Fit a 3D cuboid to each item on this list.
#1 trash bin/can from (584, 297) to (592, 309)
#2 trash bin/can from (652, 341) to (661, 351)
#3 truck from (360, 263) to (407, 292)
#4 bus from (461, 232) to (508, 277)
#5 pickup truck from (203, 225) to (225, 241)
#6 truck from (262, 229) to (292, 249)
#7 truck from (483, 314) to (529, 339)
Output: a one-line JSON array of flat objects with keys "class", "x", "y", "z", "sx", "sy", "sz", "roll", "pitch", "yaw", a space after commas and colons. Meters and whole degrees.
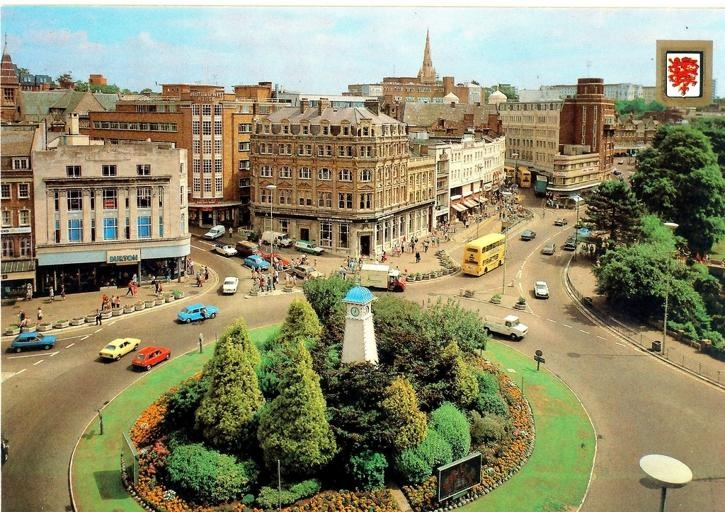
[{"class": "trash bin/can", "x": 30.278, "y": 6.171, "z": 82.914, "sx": 1.081, "sy": 1.154, "sz": 1.088, "roll": -5, "pitch": 7, "yaw": -38}, {"class": "trash bin/can", "x": 33.253, "y": 10.161, "z": 70.058, "sx": 0.913, "sy": 1.380, "sz": 0.945, "roll": 1, "pitch": 9, "yaw": 20}, {"class": "truck", "x": 2.859, "y": 2.942, "z": 85.671, "sx": 4.968, "sy": 2.795, "sz": 3.622, "roll": 0, "pitch": 21, "yaw": 0}, {"class": "bus", "x": 18.804, "y": -0.243, "z": 95.660, "sx": 3.078, "sy": 5.677, "sz": 8.952, "roll": 5, "pitch": 10, "yaw": 39}, {"class": "pickup truck", "x": -25.342, "y": -4.047, "z": 107.595, "sx": 1.851, "sy": 1.805, "sz": 3.964, "roll": 6, "pitch": 13, "yaw": 17}, {"class": "truck", "x": -14.139, "y": -2.756, "z": 101.871, "sx": 4.273, "sy": 2.163, "sz": 2.603, "roll": 3, "pitch": 13, "yaw": 14}, {"class": "truck", "x": 16.668, "y": 8.043, "z": 71.587, "sx": 4.015, "sy": 2.045, "sz": 2.936, "roll": 3, "pitch": 15, "yaw": 19}]
